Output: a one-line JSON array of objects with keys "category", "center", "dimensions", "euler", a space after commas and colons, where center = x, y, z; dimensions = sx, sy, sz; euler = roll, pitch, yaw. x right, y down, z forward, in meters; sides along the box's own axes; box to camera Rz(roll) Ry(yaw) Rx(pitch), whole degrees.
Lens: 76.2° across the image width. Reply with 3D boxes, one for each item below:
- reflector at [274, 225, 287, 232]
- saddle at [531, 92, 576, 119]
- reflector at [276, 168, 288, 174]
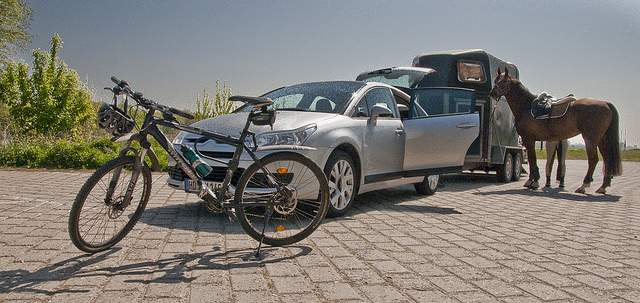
[{"category": "reflector", "center": [-0.823, 1.609, 8.540], "dimensions": [0.145, 0.049, 0.127], "euler": [1, 3, 2]}, {"category": "saddle", "center": [7.943, -1.536, 13.650], "dimensions": [1.196, 0.719, 1.679], "euler": [-14, 13, -5]}, {"category": "reflector", "center": [-0.775, 0.392, 8.411], "dimensions": [0.144, 0.049, 0.126], "euler": [0, -5, 4]}]
